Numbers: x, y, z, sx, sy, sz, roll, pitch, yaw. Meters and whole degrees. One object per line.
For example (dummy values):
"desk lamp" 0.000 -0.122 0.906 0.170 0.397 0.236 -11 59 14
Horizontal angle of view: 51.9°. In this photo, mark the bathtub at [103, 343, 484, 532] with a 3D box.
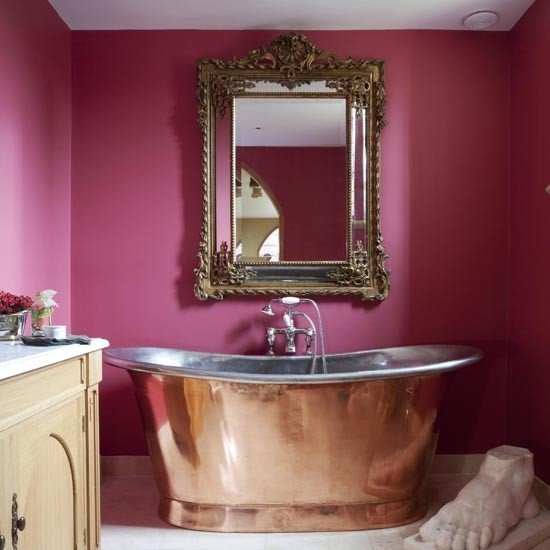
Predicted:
"bathtub" 0.097 0.675 2.520 1.652 0.702 0.703 -1 6 -13

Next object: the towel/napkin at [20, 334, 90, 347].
"towel/napkin" -0.770 0.230 1.977 0.230 0.028 0.172 -2 7 -22

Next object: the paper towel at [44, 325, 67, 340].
"paper towel" -0.806 0.197 2.081 0.061 0.050 0.060 1 3 -44

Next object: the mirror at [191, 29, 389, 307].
"mirror" 0.095 -0.489 2.931 1.012 1.518 0.117 0 35 2
